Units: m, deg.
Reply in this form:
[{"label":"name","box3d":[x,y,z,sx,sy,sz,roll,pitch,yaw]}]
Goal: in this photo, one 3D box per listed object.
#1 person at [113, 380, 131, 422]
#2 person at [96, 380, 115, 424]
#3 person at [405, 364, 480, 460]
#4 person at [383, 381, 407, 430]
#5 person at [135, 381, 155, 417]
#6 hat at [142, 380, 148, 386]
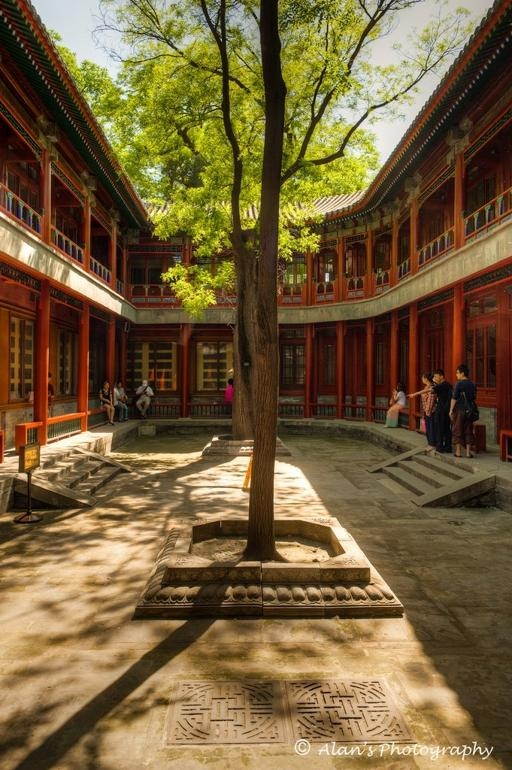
[{"label":"person","box3d":[-4.731,0.587,16.858,0.446,1.360,1.037,1,-3,-16]},{"label":"person","box3d":[-4.775,0.550,15.518,0.379,1.420,1.125,1,-3,-17]},{"label":"person","box3d":[3.512,0.462,8.795,0.482,1.585,1.235,1,-3,-4]},{"label":"person","box3d":[3.957,0.615,13.832,0.566,1.233,1.168,0,-3,15]},{"label":"person","box3d":[-4.190,0.538,18.193,0.623,1.340,1.205,1,-3,-14]},{"label":"hat","box3d":[-4.122,-0.089,17.991,0.233,0.342,0.188,1,-13,-7]}]
